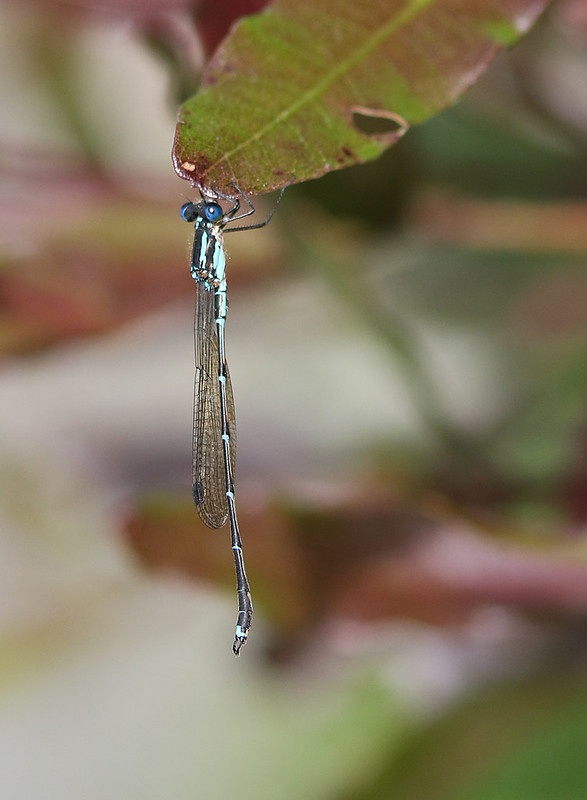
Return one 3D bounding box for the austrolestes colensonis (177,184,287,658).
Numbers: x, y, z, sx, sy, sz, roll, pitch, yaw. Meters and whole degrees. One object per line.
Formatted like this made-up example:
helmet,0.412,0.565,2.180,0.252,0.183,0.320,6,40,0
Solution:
austrolestes colensonis,-0.086,0.010,1.099,0.140,0.069,0.549,-6,-84,-10
